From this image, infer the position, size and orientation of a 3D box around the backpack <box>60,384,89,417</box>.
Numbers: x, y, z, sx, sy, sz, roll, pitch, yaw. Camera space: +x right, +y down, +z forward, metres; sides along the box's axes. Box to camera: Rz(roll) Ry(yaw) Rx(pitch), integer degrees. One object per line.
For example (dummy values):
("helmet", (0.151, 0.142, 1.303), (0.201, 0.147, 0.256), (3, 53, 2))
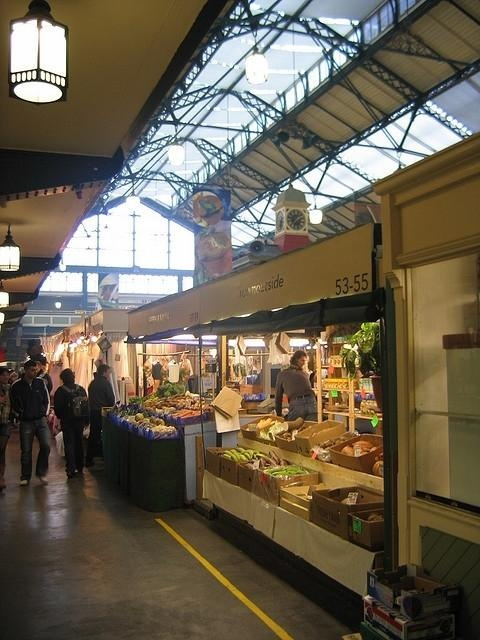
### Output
("backpack", (-2.325, 1.127, 7.242), (0.291, 0.532, 0.373), (-27, -21, 19))

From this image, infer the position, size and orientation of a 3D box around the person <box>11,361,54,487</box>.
("person", (-2.743, 1.332, 6.781), (0.496, 1.610, 0.582), (2, -6, -22))

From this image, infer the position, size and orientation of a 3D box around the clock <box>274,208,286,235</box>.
("clock", (0.588, -1.461, 7.749), (0.091, 0.347, 0.383), (0, -6, -9))

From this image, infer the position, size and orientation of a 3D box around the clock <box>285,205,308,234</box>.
("clock", (0.804, -1.498, 7.770), (0.329, 0.317, 0.074), (-14, 25, -32))

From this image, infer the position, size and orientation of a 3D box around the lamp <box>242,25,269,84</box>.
("lamp", (0.224, -3.645, 7.202), (0.281, 0.847, 0.780), (-1, -6, 2))

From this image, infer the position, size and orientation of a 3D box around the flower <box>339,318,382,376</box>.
("flower", (0.857, 0.182, 3.558), (0.320, 0.206, 0.328), (-16, -5, 40))
